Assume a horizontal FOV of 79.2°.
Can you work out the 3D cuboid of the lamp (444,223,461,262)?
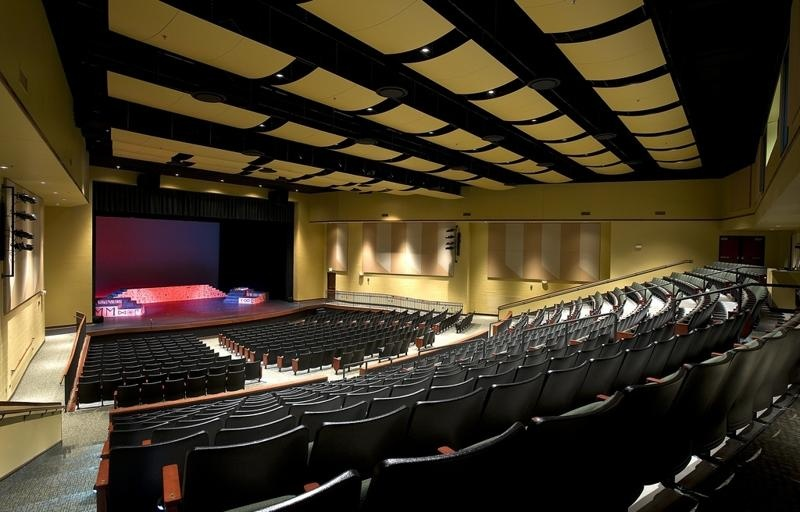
[{"bbox_3d":[2.467,-0.645,22.843,0.697,1.894,1.371,2,3,44],"label":"lamp"}]
